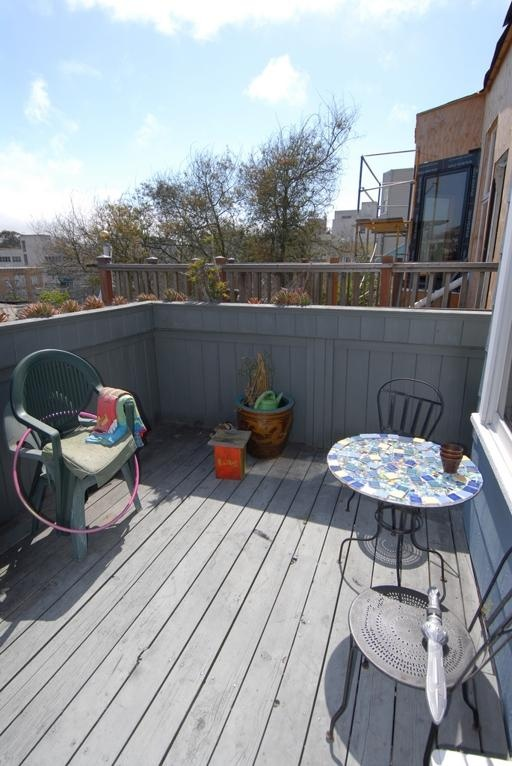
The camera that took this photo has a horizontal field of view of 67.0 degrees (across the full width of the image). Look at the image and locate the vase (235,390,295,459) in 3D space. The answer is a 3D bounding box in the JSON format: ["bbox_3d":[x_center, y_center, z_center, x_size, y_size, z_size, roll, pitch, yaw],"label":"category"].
[{"bbox_3d":[0.091,0.399,3.468,0.491,0.481,0.478,-8,15,-28],"label":"vase"}]

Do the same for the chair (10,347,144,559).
[{"bbox_3d":[-1.117,0.478,2.373,0.667,1.146,0.684,20,28,23],"label":"chair"}]

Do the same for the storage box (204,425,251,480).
[{"bbox_3d":[-0.199,0.584,3.062,0.281,0.361,0.231,2,10,12],"label":"storage box"}]
